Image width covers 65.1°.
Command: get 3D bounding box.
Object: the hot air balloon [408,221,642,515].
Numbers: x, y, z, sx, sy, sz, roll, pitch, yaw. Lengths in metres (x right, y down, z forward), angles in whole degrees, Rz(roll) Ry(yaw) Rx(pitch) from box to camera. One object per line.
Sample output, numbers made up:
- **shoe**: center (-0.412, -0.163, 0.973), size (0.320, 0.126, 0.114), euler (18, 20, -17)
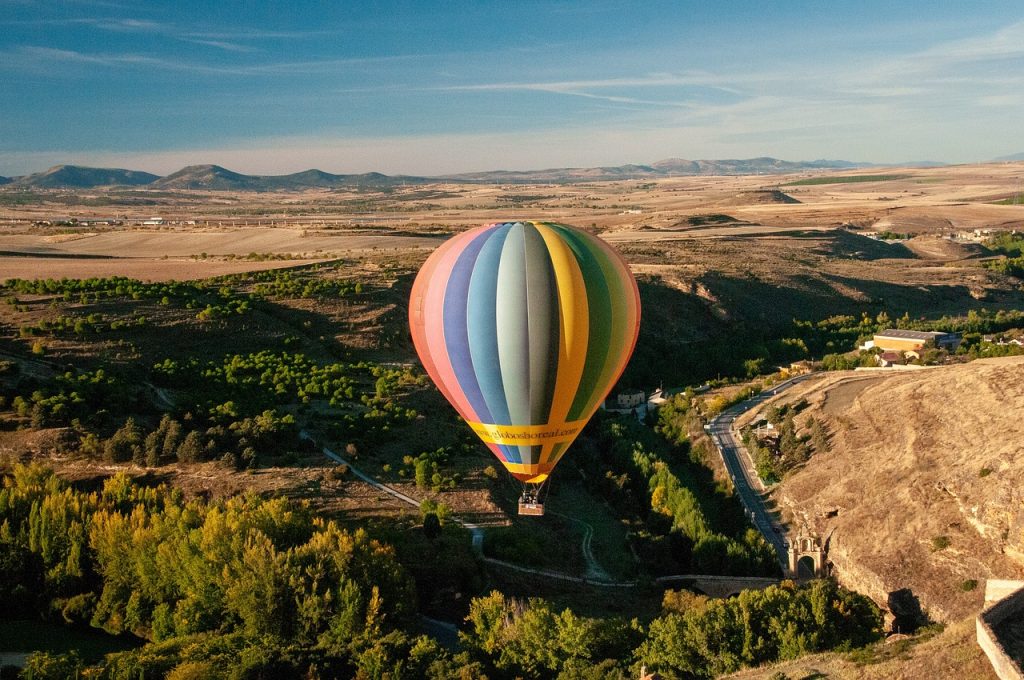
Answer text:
- **hot air balloon**: center (0.787, 0.813, 36.842), size (9.230, 11.785, 3.439), euler (-6, 20, -3)
